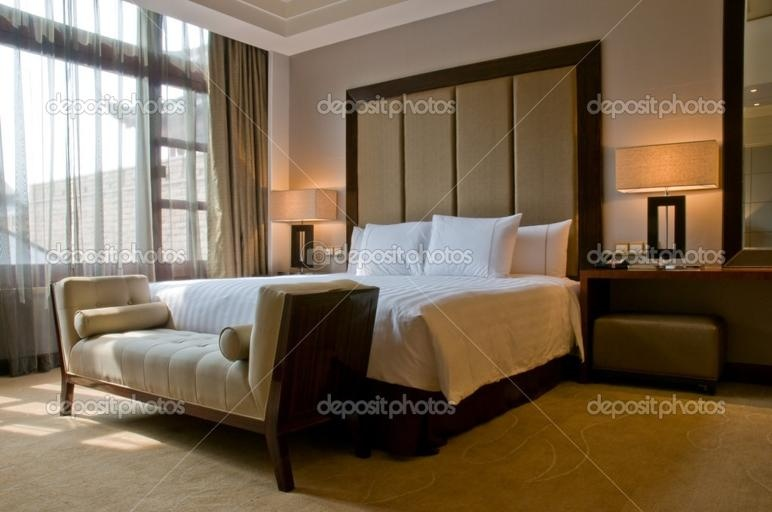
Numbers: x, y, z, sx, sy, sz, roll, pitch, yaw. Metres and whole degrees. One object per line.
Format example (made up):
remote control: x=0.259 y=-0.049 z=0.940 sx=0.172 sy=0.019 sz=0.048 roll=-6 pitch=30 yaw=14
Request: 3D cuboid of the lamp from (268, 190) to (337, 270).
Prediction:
lamp: x=-0.871 y=-0.283 z=5.516 sx=0.722 sy=0.824 sz=0.409 roll=4 pitch=10 yaw=22

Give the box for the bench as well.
bench: x=-1.143 y=0.580 z=3.176 sx=2.149 sy=0.904 sz=0.743 roll=0 pitch=1 yaw=33

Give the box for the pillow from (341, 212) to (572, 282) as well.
pillow: x=0.524 y=-0.063 z=4.596 sx=2.059 sy=0.555 sz=0.726 roll=3 pitch=9 yaw=21
